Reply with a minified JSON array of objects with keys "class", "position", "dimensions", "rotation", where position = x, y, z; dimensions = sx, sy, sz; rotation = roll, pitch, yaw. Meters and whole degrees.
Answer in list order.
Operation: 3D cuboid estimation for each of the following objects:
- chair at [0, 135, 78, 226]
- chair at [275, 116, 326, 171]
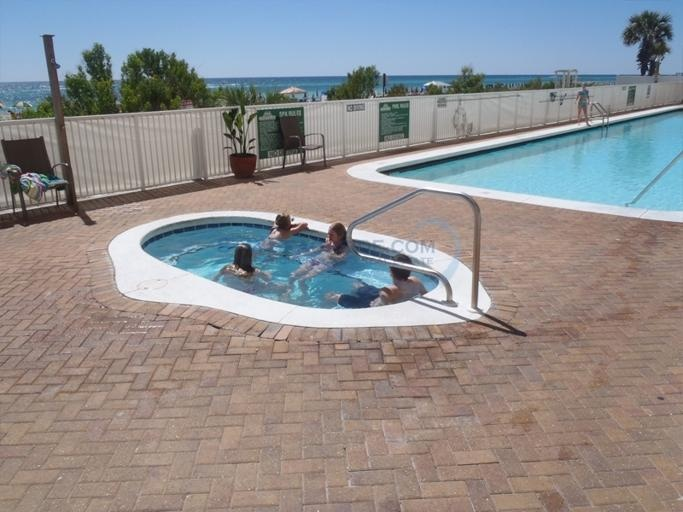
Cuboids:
[{"class":"chair","position":[-5.483,-1.437,7.922],"dimensions":[1.077,1.331,1.289],"rotation":[-19,26,-34]},{"class":"chair","position":[-1.171,-3.064,12.023],"dimensions":[1.328,1.455,1.304],"rotation":[24,39,33]}]
